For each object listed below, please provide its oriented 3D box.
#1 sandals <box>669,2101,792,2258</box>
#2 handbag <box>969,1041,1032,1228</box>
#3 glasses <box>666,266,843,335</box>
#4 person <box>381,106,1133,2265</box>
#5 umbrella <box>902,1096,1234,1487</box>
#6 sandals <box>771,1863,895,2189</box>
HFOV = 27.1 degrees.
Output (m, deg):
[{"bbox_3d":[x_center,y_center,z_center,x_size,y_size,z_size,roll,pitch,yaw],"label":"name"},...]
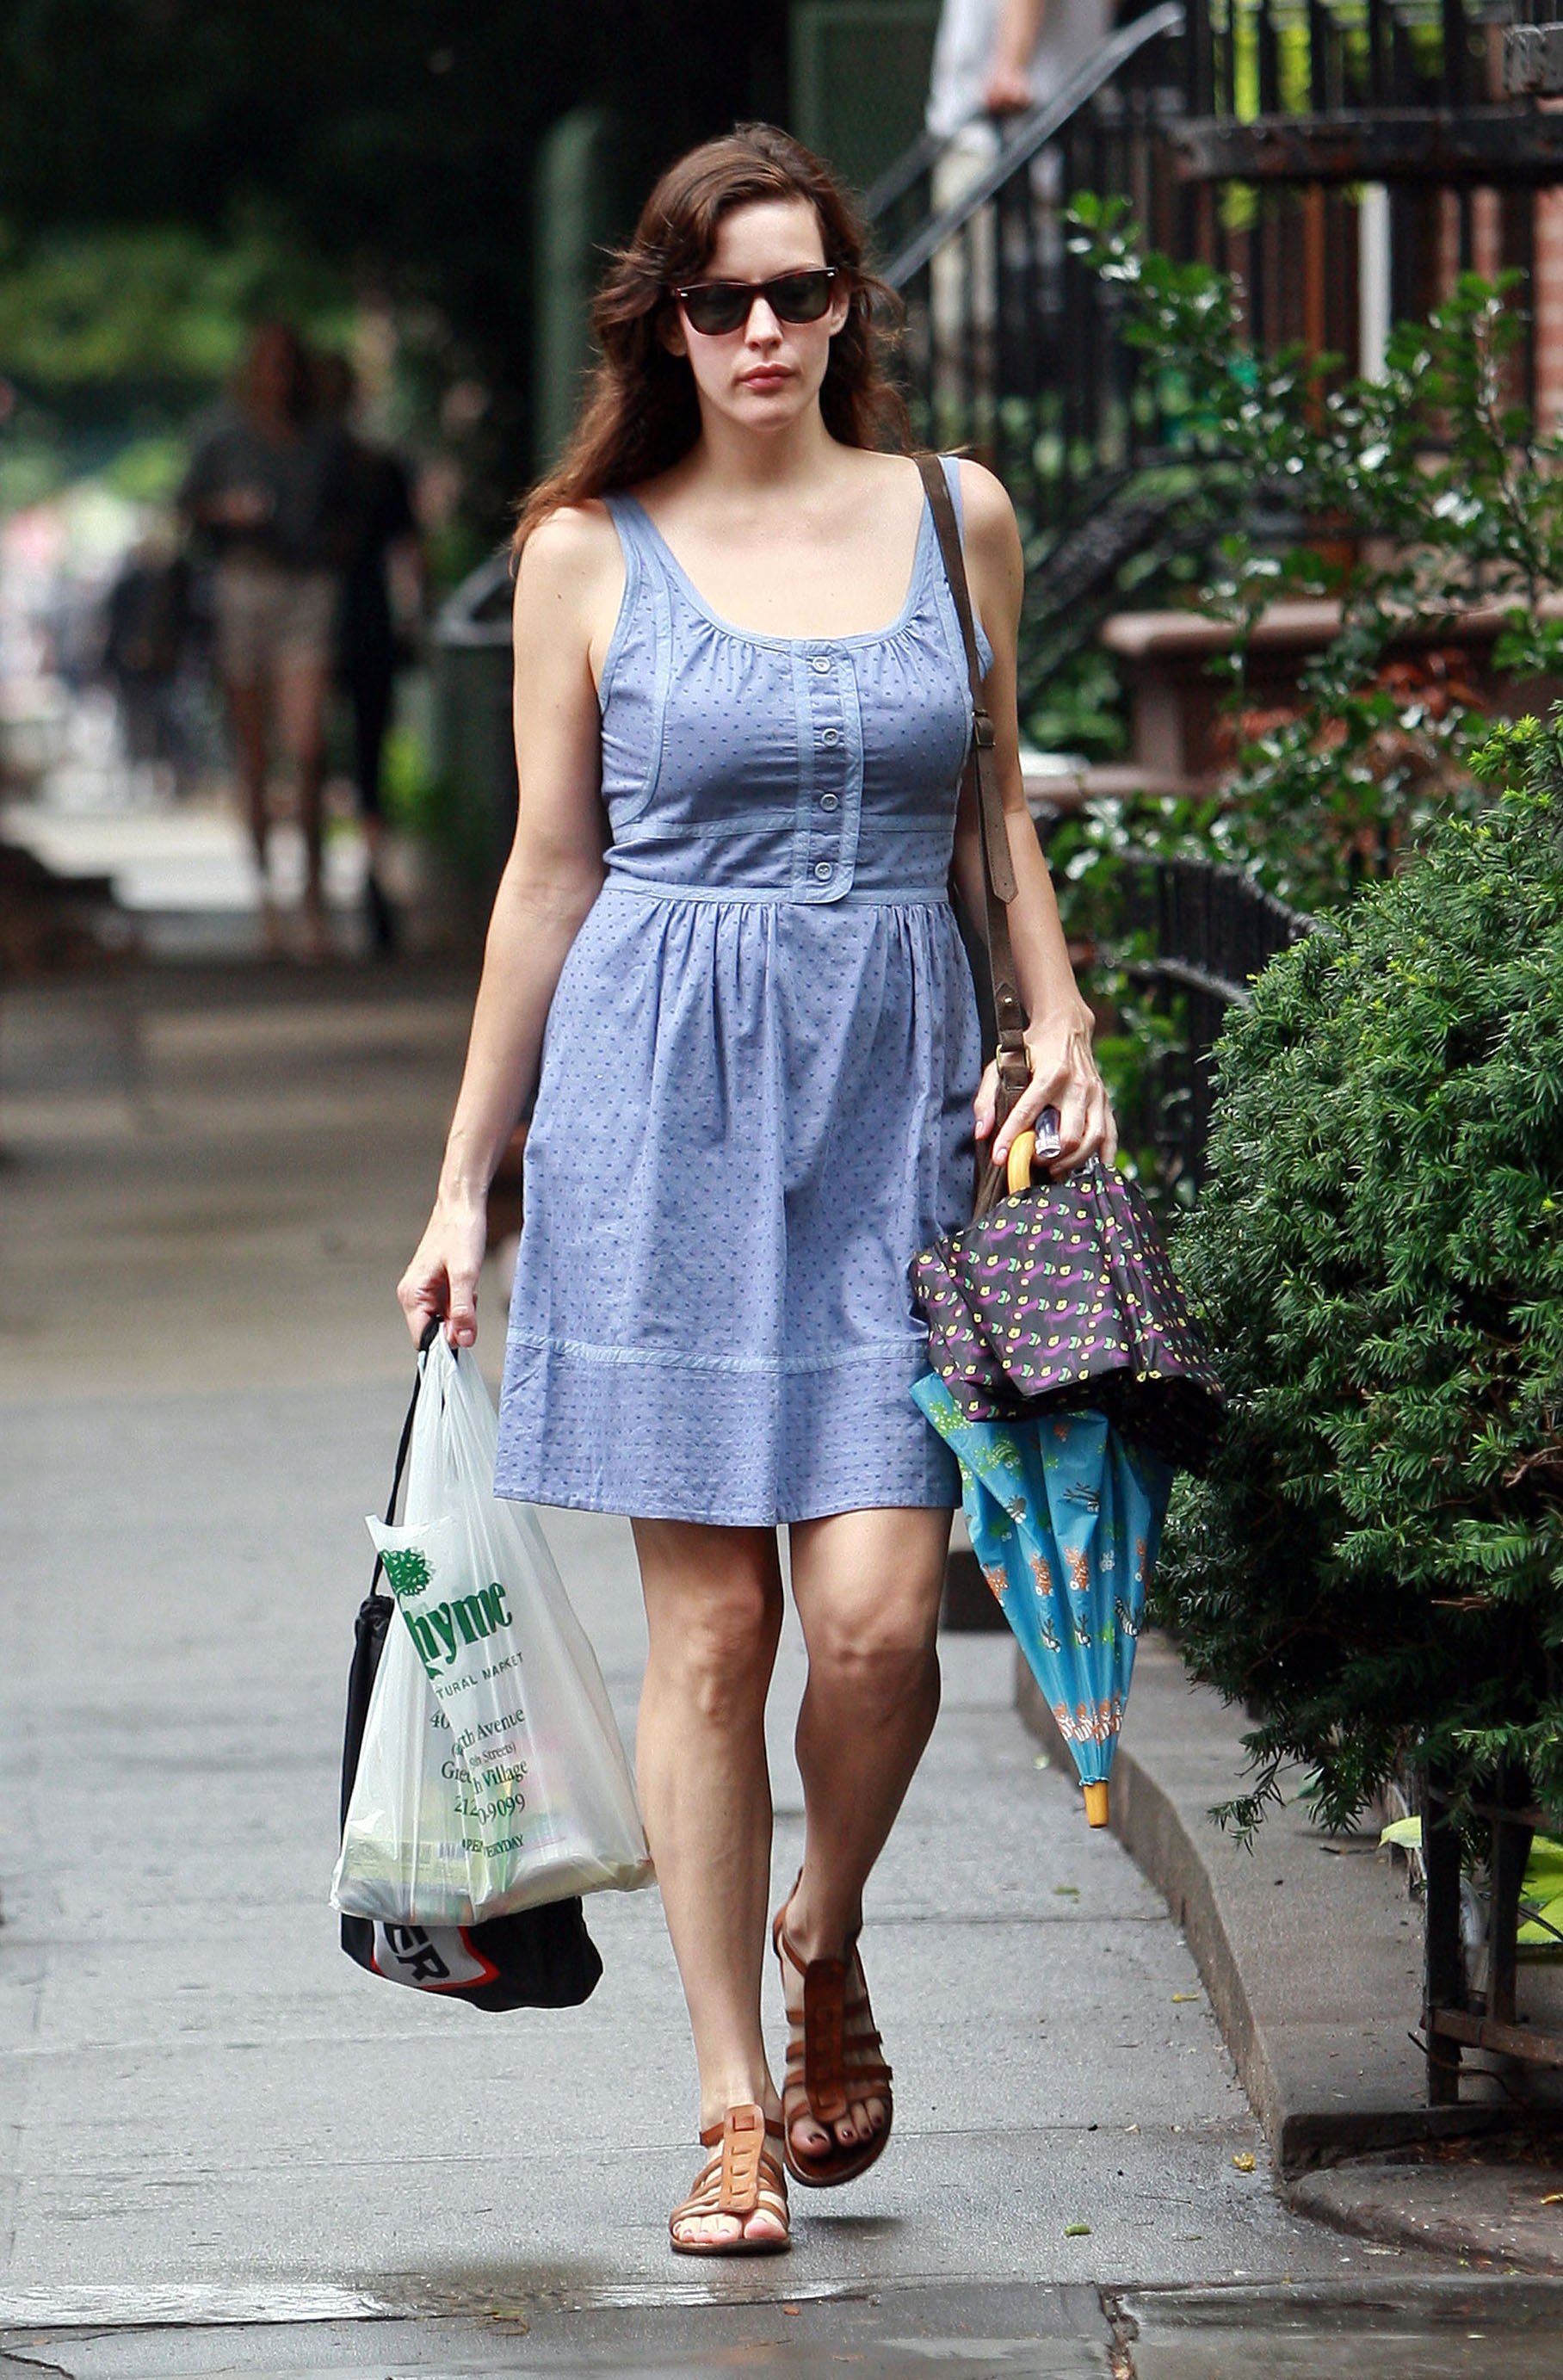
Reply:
[{"bbox_3d":[-0.046,0.874,2.878,0.105,0.129,0.117,-1,2,-2],"label":"sandals"},{"bbox_3d":[0.206,-0.055,2.939,0.039,0.091,0.132,8,-34,-5],"label":"handbag"},{"bbox_3d":[-0.022,-0.803,2.931,0.136,0.067,0.071,-1,2,-6],"label":"glasses"},{"bbox_3d":[-0.021,-0.023,2.994,0.647,1.948,0.409,-1,2,-7],"label":"person"},{"bbox_3d":[0.238,0.083,2.777,0.268,0.239,0.105,-13,-26,-18],"label":"umbrella"},{"bbox_3d":[0.051,0.794,3.043,0.103,0.263,0.118,-7,-20,5],"label":"sandals"}]
